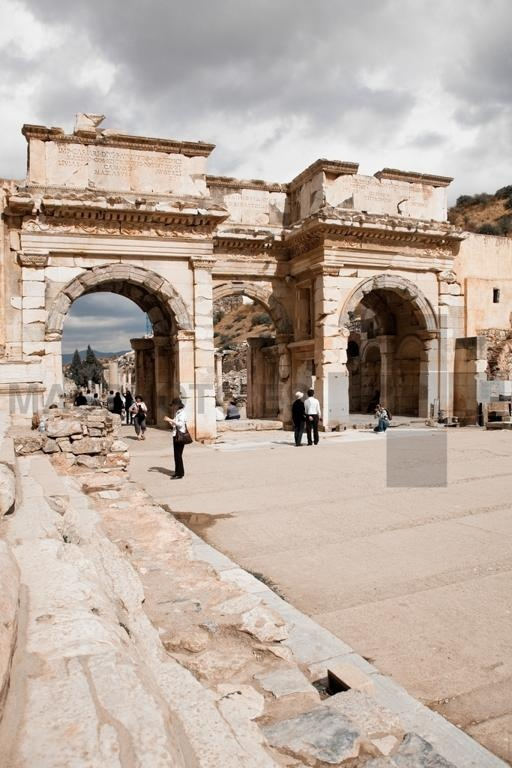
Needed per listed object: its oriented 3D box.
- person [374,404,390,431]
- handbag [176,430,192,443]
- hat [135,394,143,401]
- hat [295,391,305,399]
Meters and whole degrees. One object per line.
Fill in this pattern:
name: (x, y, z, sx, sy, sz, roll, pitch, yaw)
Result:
person: (2.946, 0.855, 16.789, 0.307, 0.631, 0.748, -1, -1, 7)
handbag: (-0.972, 0.732, 9.499, 0.202, 0.156, 0.380, -1, -1, -7)
hat: (-2.632, 0.325, 16.023, 0.207, 0.058, 0.213, 3, -25, 1)
hat: (1.028, 0.282, 16.864, 0.046, 0.193, 0.177, 20, 17, -40)
